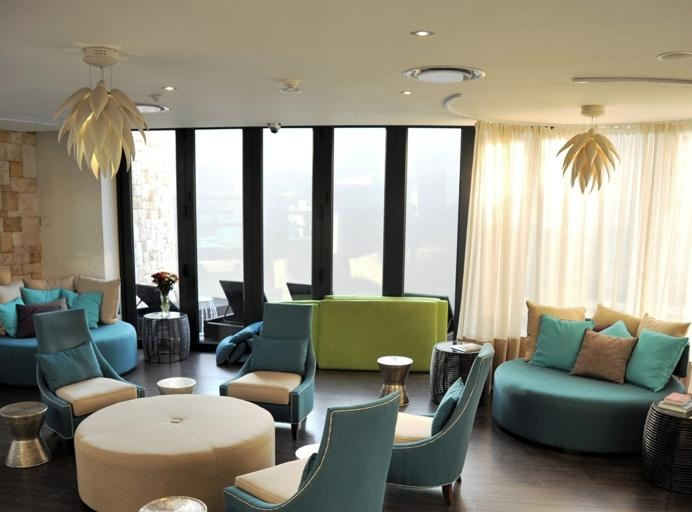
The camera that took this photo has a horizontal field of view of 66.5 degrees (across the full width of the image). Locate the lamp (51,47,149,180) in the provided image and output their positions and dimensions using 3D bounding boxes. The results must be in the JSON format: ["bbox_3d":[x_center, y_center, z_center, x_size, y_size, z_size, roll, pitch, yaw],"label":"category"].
[{"bbox_3d":[-2.016,-1.128,4.227,0.690,0.976,0.653,8,6,31],"label":"lamp"}]

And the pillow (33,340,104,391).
[{"bbox_3d":[-2.779,1.097,5.287,0.200,0.340,0.532,-2,7,40],"label":"pillow"}]

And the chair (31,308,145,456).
[{"bbox_3d":[-2.658,1.181,5.287,0.910,1.158,0.828,6,7,33],"label":"chair"}]

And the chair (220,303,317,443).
[{"bbox_3d":[-0.718,1.142,5.456,0.848,1.208,1.088,2,-1,15],"label":"chair"}]

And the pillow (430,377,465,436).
[{"bbox_3d":[0.851,1.259,4.371,0.200,0.366,0.442,5,9,13],"label":"pillow"}]

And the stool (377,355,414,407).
[{"bbox_3d":[0.561,1.426,6.100,0.452,0.553,0.490,-1,6,4],"label":"stool"}]

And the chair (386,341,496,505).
[{"bbox_3d":[0.673,1.382,4.535,0.980,1.128,0.789,-3,7,13],"label":"chair"}]

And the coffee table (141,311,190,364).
[{"bbox_3d":[-2.559,1.145,7.635,0.660,0.614,0.670,0,2,0],"label":"coffee table"}]

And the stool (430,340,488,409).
[{"bbox_3d":[1.295,1.428,6.182,0.585,0.561,0.579,3,-4,-35],"label":"stool"}]

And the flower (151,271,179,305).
[{"bbox_3d":[-2.532,0.437,7.567,0.440,0.480,0.445,1,3,-3],"label":"flower"}]

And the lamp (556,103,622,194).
[{"bbox_3d":[2.637,-1.158,5.729,0.624,0.935,0.650,5,9,3],"label":"lamp"}]

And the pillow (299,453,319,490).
[{"bbox_3d":[-0.231,1.313,3.265,0.050,0.208,0.206,23,-25,-22],"label":"pillow"}]
